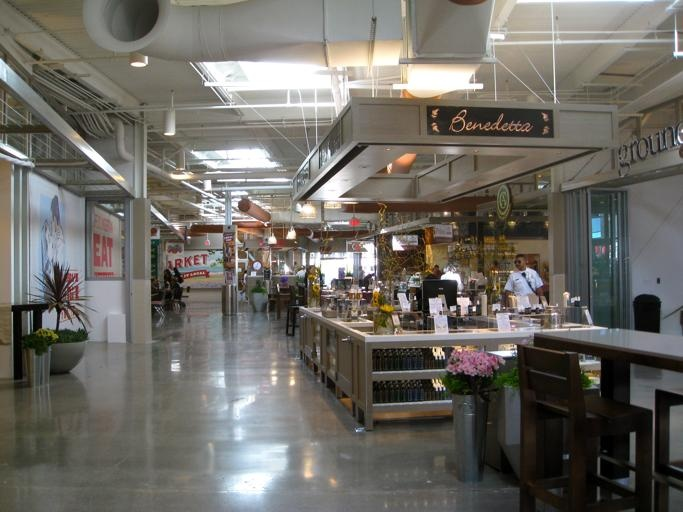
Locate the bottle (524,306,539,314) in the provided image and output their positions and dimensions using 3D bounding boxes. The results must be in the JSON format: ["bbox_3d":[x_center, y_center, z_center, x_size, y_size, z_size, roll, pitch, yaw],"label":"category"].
[{"bbox_3d":[2.576,0.731,7.645,0.128,0.099,0.197,-2,3,-32],"label":"bottle"}]

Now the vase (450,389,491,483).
[{"bbox_3d":[1.247,1.742,5.479,0.332,0.809,0.222,0,3,12],"label":"vase"}]

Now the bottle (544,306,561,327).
[{"bbox_3d":[2.691,0.787,7.256,0.229,0.251,0.225,0,-2,7],"label":"bottle"}]

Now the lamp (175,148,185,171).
[{"bbox_3d":[-4.539,-2.617,15.907,0.193,0.571,1.435,-2,2,-14],"label":"lamp"}]

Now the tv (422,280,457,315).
[{"bbox_3d":[1.438,0.565,8.284,0.517,0.408,0.665,-1,2,7],"label":"tv"}]

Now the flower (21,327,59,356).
[{"bbox_3d":[-4.807,1.347,8.949,0.404,0.359,0.430,-1,2,-6],"label":"flower"}]

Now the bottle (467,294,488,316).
[{"bbox_3d":[1.892,0.657,7.838,0.306,0.319,0.316,2,-3,0],"label":"bottle"}]

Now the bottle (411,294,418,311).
[{"bbox_3d":[1.250,0.819,9.612,0.149,0.281,0.151,1,-2,0],"label":"bottle"}]

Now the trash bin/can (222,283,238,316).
[{"bbox_3d":[-3.943,1.531,19.976,0.394,1.121,0.564,-2,3,-23],"label":"trash bin/can"}]

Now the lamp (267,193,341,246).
[{"bbox_3d":[-1.739,-1.464,23.018,2.383,1.077,3.303,0,-2,4],"label":"lamp"}]

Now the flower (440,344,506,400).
[{"bbox_3d":[1.299,1.098,5.645,0.522,0.542,0.456,1,0,-8],"label":"flower"}]
